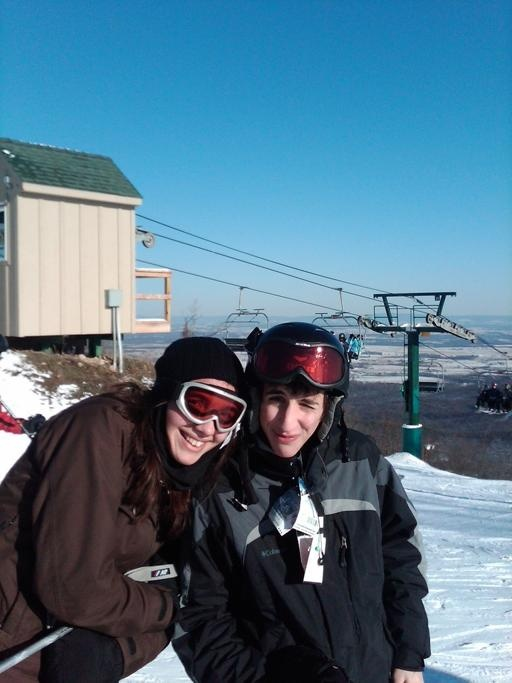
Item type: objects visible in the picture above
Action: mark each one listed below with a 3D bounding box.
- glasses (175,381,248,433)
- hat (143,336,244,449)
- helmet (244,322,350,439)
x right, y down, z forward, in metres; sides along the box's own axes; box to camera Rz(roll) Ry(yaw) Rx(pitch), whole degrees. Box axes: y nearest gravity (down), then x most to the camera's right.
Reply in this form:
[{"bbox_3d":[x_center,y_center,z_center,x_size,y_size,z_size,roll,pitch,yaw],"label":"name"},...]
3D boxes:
[{"bbox_3d":[-0.165,0.256,2.555,0.246,0.129,0.165,18,-7,-16],"label":"glasses"},{"bbox_3d":[-0.267,0.194,2.630,0.392,0.376,0.296,-27,-22,25],"label":"hat"},{"bbox_3d":[0.176,0.144,2.679,0.411,0.439,0.441,7,1,0],"label":"helmet"}]
